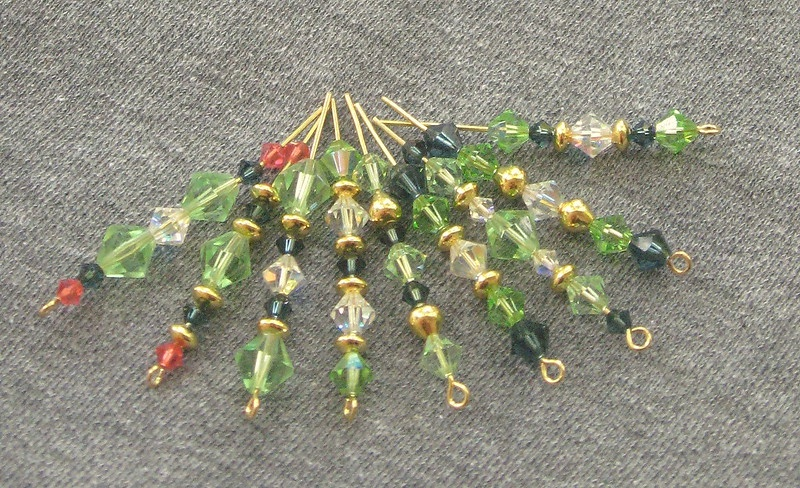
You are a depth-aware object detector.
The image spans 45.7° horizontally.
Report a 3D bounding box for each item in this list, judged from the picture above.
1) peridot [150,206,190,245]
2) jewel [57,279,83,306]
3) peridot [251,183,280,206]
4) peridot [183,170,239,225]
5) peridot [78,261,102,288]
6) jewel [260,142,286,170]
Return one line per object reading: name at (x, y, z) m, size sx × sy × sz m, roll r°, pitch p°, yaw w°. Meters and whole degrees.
peridot at (-0.509, -0.039, 2.098) m, size 0.078 × 0.045 × 0.087 m, roll 13°, pitch 80°, yaw 3°
jewel at (-0.710, 0.105, 2.042) m, size 0.055 × 0.032 × 0.052 m, roll -14°, pitch 94°, yaw -11°
peridot at (-0.298, -0.108, 2.102) m, size 0.046 × 0.047 × 0.030 m, roll 41°, pitch 114°, yaw 30°
peridot at (-0.417, -0.105, 2.096) m, size 0.101 × 0.079 × 0.130 m, roll 7°, pitch 96°, yaw 39°
peridot at (-0.671, 0.069, 2.062) m, size 0.056 × 0.030 × 0.052 m, roll -22°, pitch 80°, yaw -3°
jewel at (-0.282, -0.199, 2.127) m, size 0.056 × 0.017 × 0.054 m, roll -37°, pitch 93°, yaw -2°
